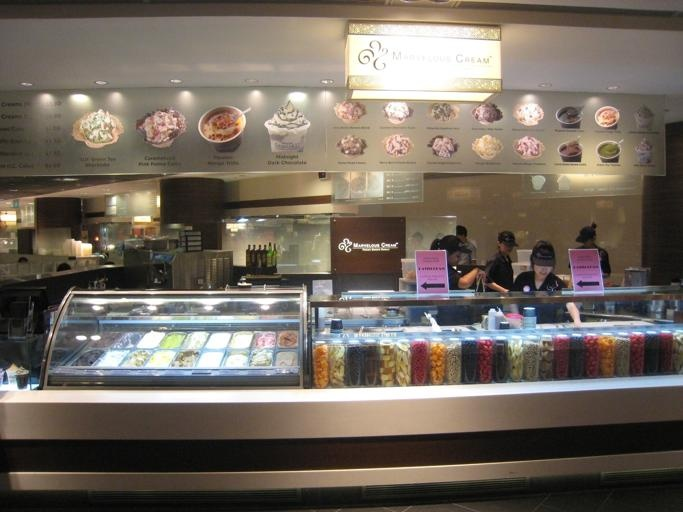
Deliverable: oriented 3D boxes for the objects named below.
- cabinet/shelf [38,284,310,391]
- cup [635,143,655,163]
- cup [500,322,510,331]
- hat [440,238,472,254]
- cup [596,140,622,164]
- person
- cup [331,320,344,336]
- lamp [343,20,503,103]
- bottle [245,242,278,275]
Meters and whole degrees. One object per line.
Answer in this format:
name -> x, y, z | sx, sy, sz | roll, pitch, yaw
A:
cabinet/shelf -> -1.202, 0.605, 3.903 | 1.506, 0.480, 0.798 | -1, 2, -1
cup -> 3.026, -1.044, 5.775 | 0.155, 0.226, 0.189 | -8, 8, -33
cup -> 1.183, 0.509, 4.186 | 0.058, 0.046, 0.057 | -1, 0, 0
hat -> 1.008, -0.093, 5.135 | 0.299, 0.134, 0.170 | 2, 14, 2
cup -> 2.664, -1.033, 5.754 | 0.227, 0.215, 0.216 | 12, -5, 1
person -> 1.565, 0.175, 5.129 | 1.513, 0.834, 0.331 | 0, 16, 3
cup -> -0.032, 0.509, 4.071 | 0.102, 0.083, 0.100 | 0, -1, 0
lamp -> 0.624, -1.534, 4.549 | 1.189, 0.478, 0.372 | 1, 5, 2
bottle -> -1.089, 0.027, 7.580 | 0.563, 0.390, 0.321 | 2, 4, 40
